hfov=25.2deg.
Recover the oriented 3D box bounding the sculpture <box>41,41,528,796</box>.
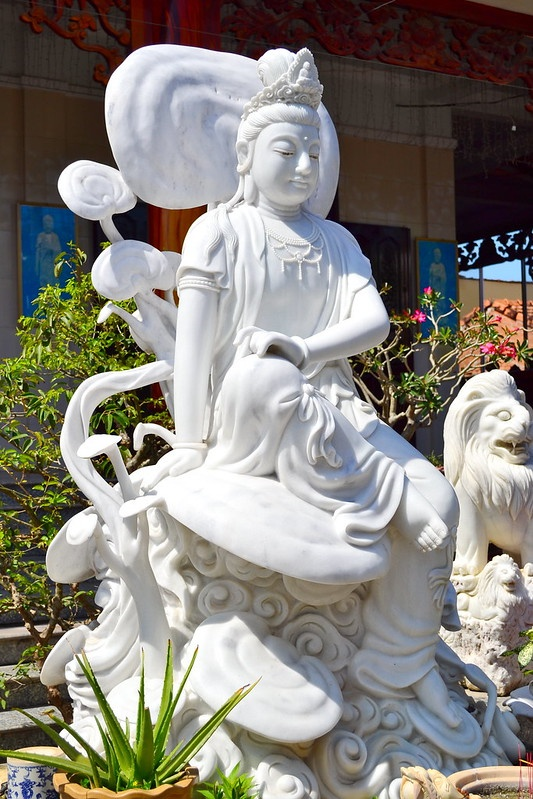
[{"bbox_3d":[-0.016,-0.032,3.487,1.274,2.240,0.931,1,3,23],"label":"sculpture"}]
